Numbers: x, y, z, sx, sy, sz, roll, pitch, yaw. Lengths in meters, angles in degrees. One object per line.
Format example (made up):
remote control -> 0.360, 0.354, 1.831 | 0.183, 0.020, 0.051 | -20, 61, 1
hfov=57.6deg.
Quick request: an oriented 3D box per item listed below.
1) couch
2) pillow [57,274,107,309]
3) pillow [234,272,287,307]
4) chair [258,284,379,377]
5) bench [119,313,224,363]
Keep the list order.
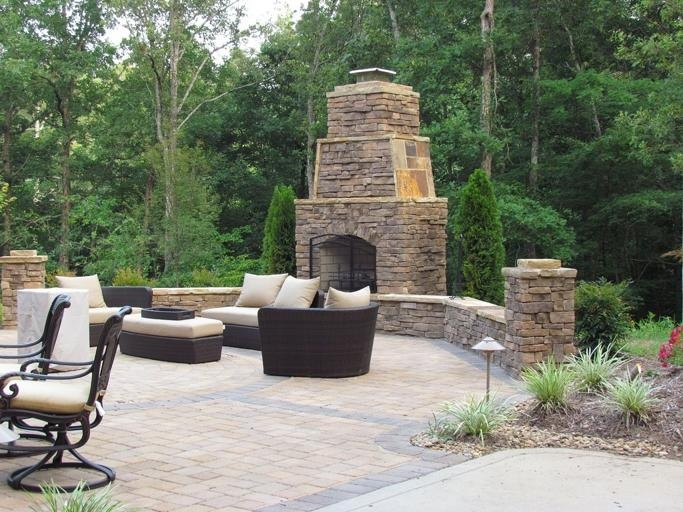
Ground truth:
couch -> -0.916, 0.876, 9.925 | 2.333, 1.249, 1.291 | -1, -3, 44
pillow -> -3.815, 0.547, 9.253 | 0.238, 0.390, 0.628 | 4, 1, 43
pillow -> -1.355, 0.589, 10.622 | 0.773, 0.441, 0.277 | 0, -6, 25
chair -> -0.266, 0.941, 8.341 | 1.401, 1.019, 1.349 | 1, -1, 18
bench -> -2.481, 1.214, 9.120 | 1.436, 0.606, 0.430 | 1, 7, 27
